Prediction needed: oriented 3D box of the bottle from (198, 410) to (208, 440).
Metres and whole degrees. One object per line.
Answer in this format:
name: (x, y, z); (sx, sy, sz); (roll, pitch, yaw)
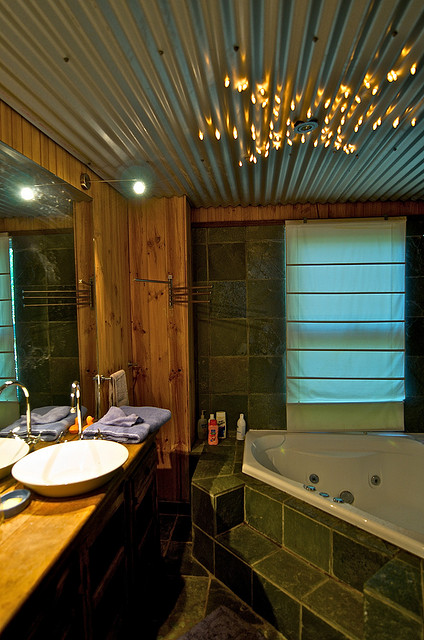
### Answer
bottle: (-0.071, 0.776, 3.238); (0.064, 0.170, 0.043); (-2, 2, 0)

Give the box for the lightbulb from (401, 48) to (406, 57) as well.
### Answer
lightbulb: (0.642, -0.904, 1.509); (0.014, 0.014, 0.031); (-1, 3, 27)

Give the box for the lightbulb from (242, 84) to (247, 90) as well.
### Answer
lightbulb: (0.116, -0.863, 1.653); (0.017, 0.008, 0.030); (-2, 3, 7)

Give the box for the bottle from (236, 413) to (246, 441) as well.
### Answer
bottle: (0.205, 0.762, 3.225); (0.062, 0.167, 0.164); (-2, 2, 5)

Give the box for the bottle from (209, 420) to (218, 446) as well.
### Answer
bottle: (0.002, 0.771, 3.067); (0.052, 0.167, 0.040); (-2, 2, -2)

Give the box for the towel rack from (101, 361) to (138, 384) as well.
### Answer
towel rack: (-0.564, 0.311, 2.684); (0.174, 0.091, 0.332); (1, 4, 5)

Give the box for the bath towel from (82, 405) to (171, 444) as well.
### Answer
bath towel: (-0.377, 0.460, 2.050); (0.261, 0.073, 0.440); (-2, 3, 14)
